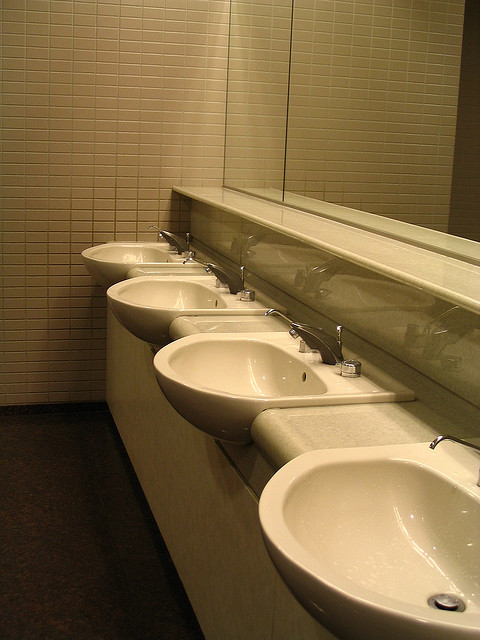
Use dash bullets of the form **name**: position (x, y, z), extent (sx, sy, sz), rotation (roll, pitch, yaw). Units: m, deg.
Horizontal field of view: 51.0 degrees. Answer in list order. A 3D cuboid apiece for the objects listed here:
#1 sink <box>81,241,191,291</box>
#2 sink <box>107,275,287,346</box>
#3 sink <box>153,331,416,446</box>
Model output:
- **sink**: position (-0.546, -0.248, 2.487), extent (0.413, 0.156, 0.573), rotation (-4, 17, -27)
- **sink**: position (-0.218, -0.068, 1.791), extent (0.366, 0.108, 0.416), rotation (0, 16, -16)
- **sink**: position (0.037, 0.126, 1.117), extent (0.307, 0.099, 0.347), rotation (-1, 15, -14)
